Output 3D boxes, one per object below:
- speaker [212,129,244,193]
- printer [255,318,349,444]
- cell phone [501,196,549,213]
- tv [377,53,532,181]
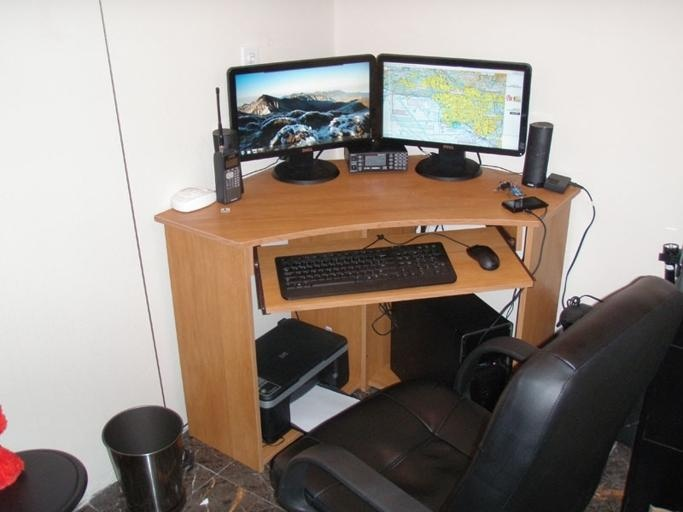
[{"bbox_3d":[-0.468,-0.380,2.296,0.092,0.289,0.136,11,27,28],"label":"speaker"},{"bbox_3d":[-0.267,0.558,2.611,0.380,0.279,0.571,21,35,34],"label":"printer"},{"bbox_3d":[0.746,-0.219,2.221,0.136,0.026,0.076,-7,31,-17],"label":"cell phone"},{"bbox_3d":[0.493,-0.623,2.450,0.555,0.412,0.223,10,37,14],"label":"tv"}]
